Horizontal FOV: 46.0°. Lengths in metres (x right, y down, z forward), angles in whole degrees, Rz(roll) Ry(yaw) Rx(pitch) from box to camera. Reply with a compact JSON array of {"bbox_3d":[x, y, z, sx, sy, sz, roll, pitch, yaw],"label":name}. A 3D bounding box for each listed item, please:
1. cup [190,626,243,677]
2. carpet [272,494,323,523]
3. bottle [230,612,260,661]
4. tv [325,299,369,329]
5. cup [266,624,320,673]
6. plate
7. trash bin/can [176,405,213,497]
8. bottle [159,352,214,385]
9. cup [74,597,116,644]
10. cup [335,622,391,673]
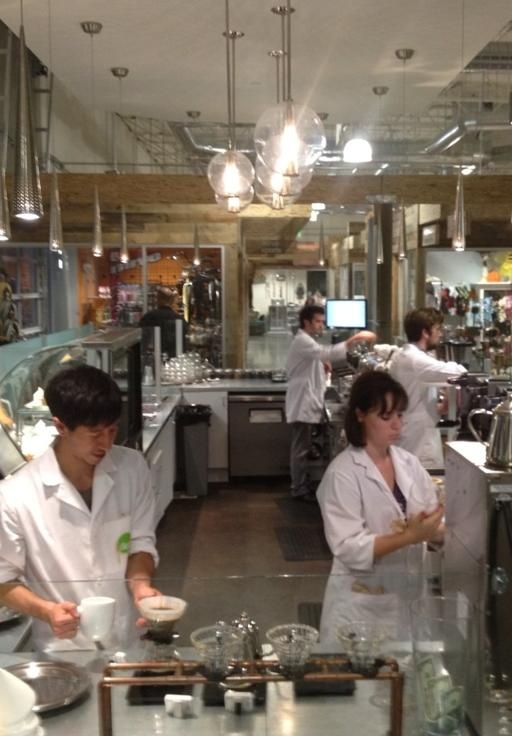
[{"bbox_3d":[-0.078,0.520,1.119,0.068,0.048,0.068,1,11,0],"label":"cup"},{"bbox_3d":[0.400,1.356,5.754,0.468,0.014,0.975,0,4,-1],"label":"carpet"},{"bbox_3d":[-0.017,0.513,1.156,0.036,0.057,0.057,0,6,2],"label":"bottle"},{"bbox_3d":[1.062,-0.626,7.075,0.354,0.257,0.036,1,6,18],"label":"tv"},{"bbox_3d":[0.071,0.520,1.135,0.073,0.047,0.068,-1,0,0],"label":"cup"},{"bbox_3d":[-0.403,0.622,1.181,0.137,0.016,0.134,5,6,-4],"label":"plate"},{"bbox_3d":[-0.680,0.916,6.646,0.411,0.942,0.516,-8,14,-35],"label":"trash bin/can"},{"bbox_3d":[-0.846,0.023,7.335,0.488,0.171,0.352,-4,26,-20],"label":"bottle"},{"bbox_3d":[-0.324,0.518,1.250,0.059,0.083,0.093,-1,0,-8],"label":"cup"},{"bbox_3d":[0.202,0.528,1.145,0.082,0.063,0.079,-1,7,0],"label":"cup"}]
